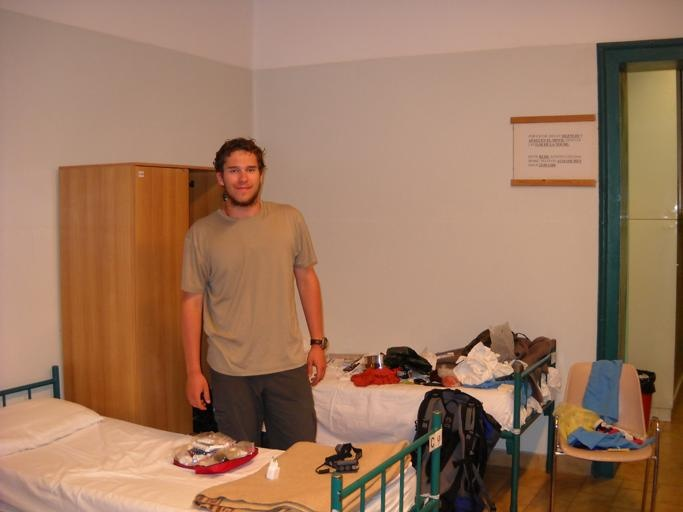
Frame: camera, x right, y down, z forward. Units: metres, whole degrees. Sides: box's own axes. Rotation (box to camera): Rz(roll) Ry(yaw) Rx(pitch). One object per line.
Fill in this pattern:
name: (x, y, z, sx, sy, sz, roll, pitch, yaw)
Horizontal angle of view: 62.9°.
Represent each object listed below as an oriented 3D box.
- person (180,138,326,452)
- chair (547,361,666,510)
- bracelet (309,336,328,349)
person: (-0.438, 0.473, 2.993, 0.710, 2.159, 0.444, -7, 20, -14)
chair: (1.694, 1.141, 3.597, 0.602, 0.905, 1.105, 0, 9, 30)
bracelet: (-0.117, 0.472, 3.052, 0.090, 0.068, 0.101, 0, -12, 20)
